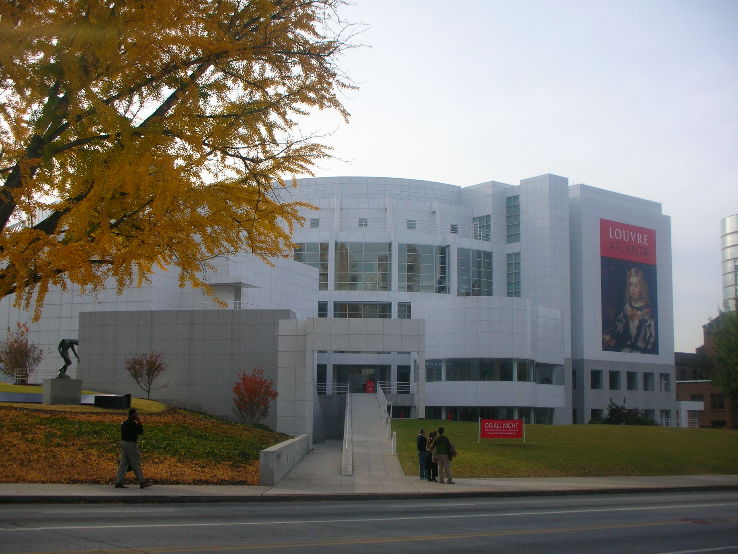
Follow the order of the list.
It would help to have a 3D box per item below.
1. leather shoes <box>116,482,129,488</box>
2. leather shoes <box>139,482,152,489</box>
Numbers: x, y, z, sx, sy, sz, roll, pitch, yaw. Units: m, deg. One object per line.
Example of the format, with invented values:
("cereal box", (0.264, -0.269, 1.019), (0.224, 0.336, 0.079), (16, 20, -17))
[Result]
("leather shoes", (-6.605, 5.581, 23.181), (0.410, 0.195, 0.148), (3, -3, -7))
("leather shoes", (-5.900, 5.540, 23.042), (0.244, 0.185, 0.143), (-7, -5, 7))
